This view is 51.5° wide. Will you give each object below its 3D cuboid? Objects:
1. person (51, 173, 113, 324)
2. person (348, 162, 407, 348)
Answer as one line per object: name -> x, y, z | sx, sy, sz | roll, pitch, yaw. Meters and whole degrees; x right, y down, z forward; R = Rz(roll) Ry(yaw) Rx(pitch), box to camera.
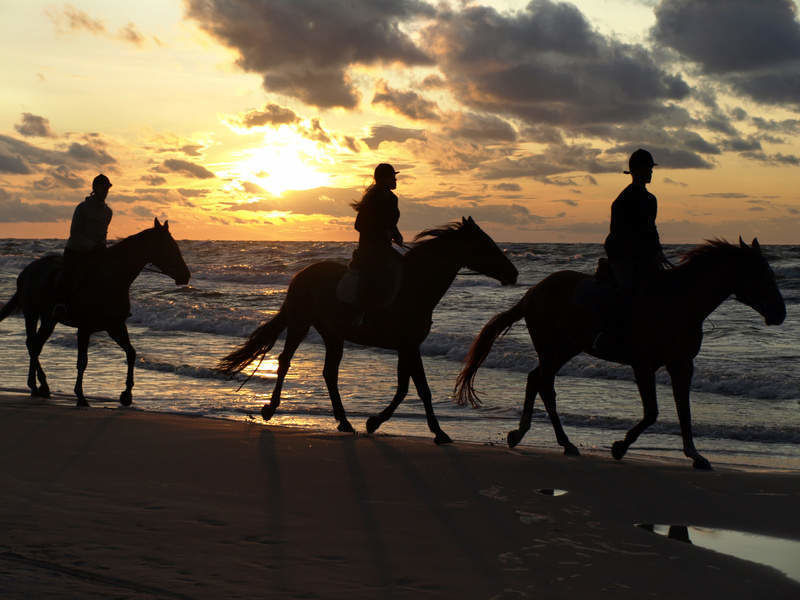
person -> -4.567, -0.718, 11.783 | 0.780, 2.108, 0.548 | 2, 15, -17
person -> -0.262, -0.609, 10.004 | 0.601, 2.023, 0.678 | 1, 14, -18
